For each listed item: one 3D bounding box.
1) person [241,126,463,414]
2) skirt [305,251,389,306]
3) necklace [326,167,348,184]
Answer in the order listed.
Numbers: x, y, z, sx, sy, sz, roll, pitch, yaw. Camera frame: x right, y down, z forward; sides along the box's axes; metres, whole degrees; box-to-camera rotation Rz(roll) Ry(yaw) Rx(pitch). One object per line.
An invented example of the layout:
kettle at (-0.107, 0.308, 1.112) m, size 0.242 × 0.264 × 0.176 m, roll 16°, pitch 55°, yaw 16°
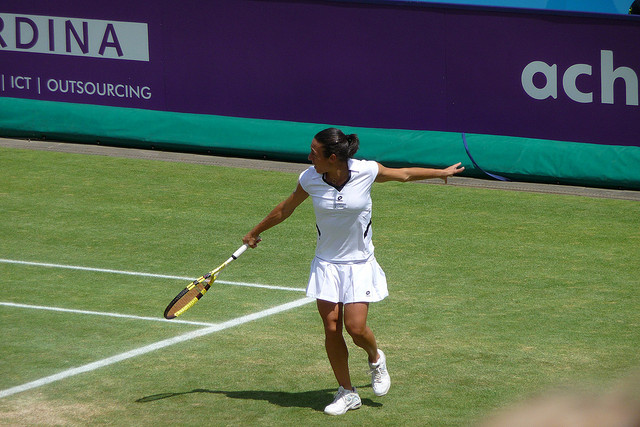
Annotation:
person at (0.230, 0.583, 7.466) m, size 1.527 × 2.882 × 0.583 m, roll 0°, pitch 5°, yaw 4°
skirt at (0.287, 0.632, 7.541) m, size 0.933 × 0.442 × 0.480 m, roll 0°, pitch 8°, yaw 11°
necklace at (0.183, -0.390, 7.338) m, size 0.234 × 0.167 × 0.055 m, roll 0°, pitch 4°, yaw 10°
